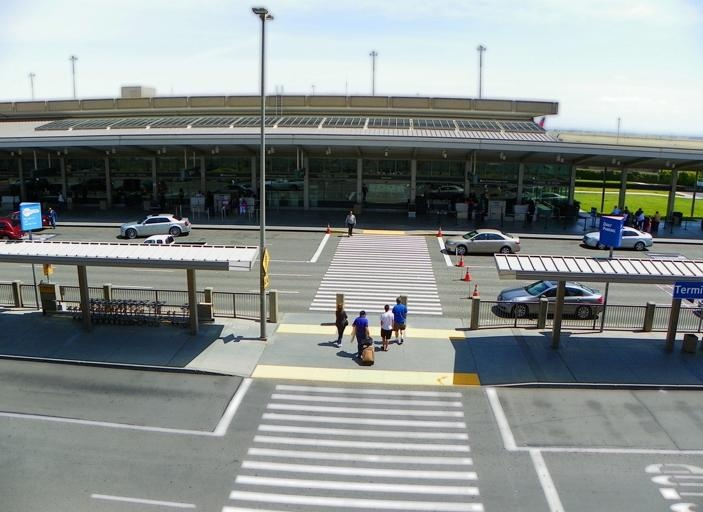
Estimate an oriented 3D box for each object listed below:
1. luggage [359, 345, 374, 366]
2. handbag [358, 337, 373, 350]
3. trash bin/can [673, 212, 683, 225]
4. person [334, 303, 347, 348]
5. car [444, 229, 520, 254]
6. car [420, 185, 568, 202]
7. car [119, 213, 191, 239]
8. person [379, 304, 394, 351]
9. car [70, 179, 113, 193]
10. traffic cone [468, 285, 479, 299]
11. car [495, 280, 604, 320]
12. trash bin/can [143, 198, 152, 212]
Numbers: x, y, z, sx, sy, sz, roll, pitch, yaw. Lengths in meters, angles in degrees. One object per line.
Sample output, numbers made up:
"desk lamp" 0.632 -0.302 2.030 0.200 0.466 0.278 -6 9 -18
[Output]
"luggage" 0.714 3.721 24.374 0.606 0.674 0.763 0 -2 2
"handbag" 0.528 3.278 24.449 0.470 0.193 0.546 0 22 10
"trash bin/can" 26.624 -3.096 52.820 0.538 0.991 2.558 5 10 30
"person" -0.474 2.707 25.972 0.460 1.603 1.003 -1 10 -2
"car" 8.057 -0.872 40.363 4.399 1.078 1.727 2 8 4
"car" 11.557 -5.391 54.867 11.365 1.515 0.857 0 10 1
"car" -13.542 -2.067 44.453 4.624 1.069 1.798 1 8 -5
"person" 1.364 2.752 25.115 0.431 1.889 0.791 0 10 5
"car" -23.312 -6.315 58.129 3.585 0.921 1.534 3 7 1
"traffic cone" 5.851 1.742 31.132 0.626 0.641 0.506 3 27 4
"car" 8.711 2.001 29.034 4.861 1.121 1.954 1 7 1
"trash bin/can" -17.569 -4.374 55.572 0.701 0.866 1.953 -4 9 -18
